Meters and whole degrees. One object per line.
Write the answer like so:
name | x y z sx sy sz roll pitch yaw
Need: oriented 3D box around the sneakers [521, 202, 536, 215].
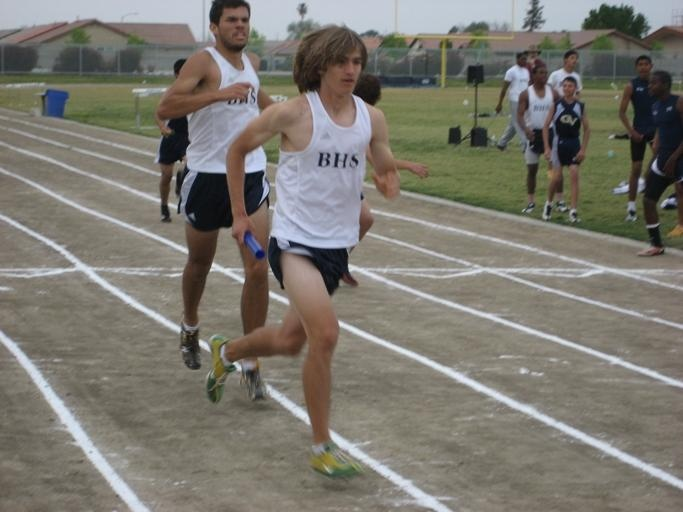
sneakers | 2.833 -0.731 14.426 0.118 0.191 0.312 -3 9 -22

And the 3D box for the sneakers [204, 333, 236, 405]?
sneakers | -0.948 0.867 7.370 0.265 0.526 0.201 6 9 23

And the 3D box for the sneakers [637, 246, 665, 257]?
sneakers | 3.848 -0.058 11.743 0.376 0.132 0.127 -1 2 -8

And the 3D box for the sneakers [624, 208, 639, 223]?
sneakers | 4.163 -0.579 13.669 0.240 0.242 0.169 10 -15 -33

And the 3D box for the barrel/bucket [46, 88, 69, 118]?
barrel/bucket | -8.459 -4.527 28.188 0.649 0.764 0.683 2 15 -1

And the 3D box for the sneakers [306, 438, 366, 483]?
sneakers | -0.077 1.367 6.539 0.244 0.159 0.429 -15 18 -34

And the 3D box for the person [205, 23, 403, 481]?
person | -0.277 -0.126 6.666 1.157 2.896 1.056 5 16 11

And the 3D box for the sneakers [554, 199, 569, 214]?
sneakers | 3.345 -0.755 14.484 0.107 0.120 0.292 -3 3 -15

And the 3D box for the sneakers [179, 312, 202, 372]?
sneakers | -1.257 0.739 7.862 0.154 0.397 0.187 -8 -2 -22

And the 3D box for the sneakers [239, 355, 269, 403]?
sneakers | -0.710 0.970 7.525 0.217 0.317 0.143 -25 9 9
